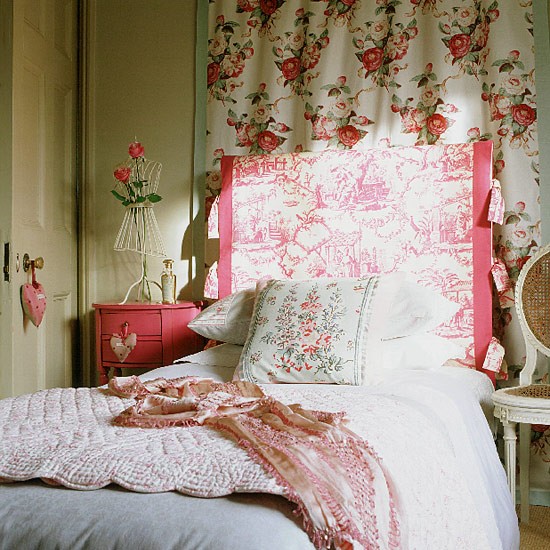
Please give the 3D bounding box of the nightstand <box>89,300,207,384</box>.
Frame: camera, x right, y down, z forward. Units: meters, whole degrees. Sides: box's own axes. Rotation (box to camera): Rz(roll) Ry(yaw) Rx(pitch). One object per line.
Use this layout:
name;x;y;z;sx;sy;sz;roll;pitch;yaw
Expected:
nightstand;-0.626;0.290;2.773;0.509;0.407;0.346;0;1;11

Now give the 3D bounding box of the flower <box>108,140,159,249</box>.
flower;-0.721;-0.400;2.886;0.306;0.554;0.231;2;10;-8
